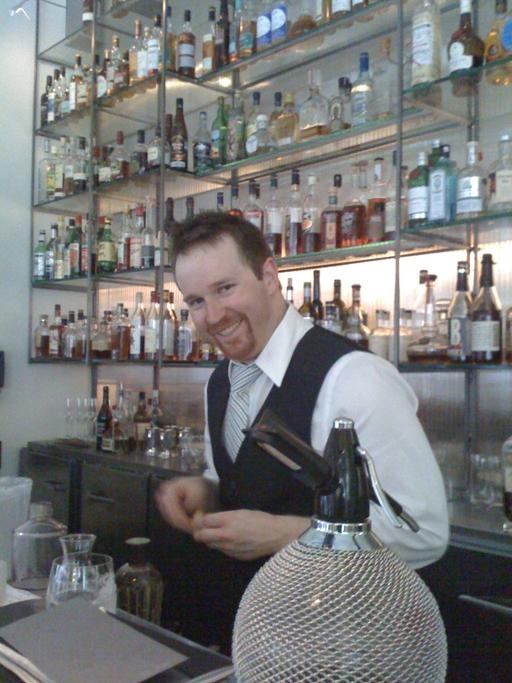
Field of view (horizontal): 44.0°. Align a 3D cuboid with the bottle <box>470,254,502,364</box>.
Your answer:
[{"bbox_3d":[0.615,-0.088,1.699,0.080,0.291,0.187,0,-1,21],"label":"bottle"}]

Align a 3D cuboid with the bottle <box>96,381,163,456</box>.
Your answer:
[{"bbox_3d":[-0.597,0.338,2.777,0.308,0.300,0.305,-5,-7,32],"label":"bottle"}]

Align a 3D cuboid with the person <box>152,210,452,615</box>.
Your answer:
[{"bbox_3d":[0.058,0.107,1.141,0.557,0.688,0.504,-1,-1,21],"label":"person"}]

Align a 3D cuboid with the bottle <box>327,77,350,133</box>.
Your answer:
[{"bbox_3d":[0.276,-0.783,2.119,0.068,0.226,0.207,0,-1,3],"label":"bottle"}]

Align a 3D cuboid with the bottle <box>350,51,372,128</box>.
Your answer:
[{"bbox_3d":[0.315,-0.762,1.928,0.071,0.212,0.077,0,-1,0],"label":"bottle"}]

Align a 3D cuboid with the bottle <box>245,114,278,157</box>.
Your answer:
[{"bbox_3d":[0.015,-0.741,2.297,0.078,0.142,0.117,1,-1,-20],"label":"bottle"}]

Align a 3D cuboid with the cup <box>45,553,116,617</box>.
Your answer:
[{"bbox_3d":[-0.197,0.278,0.743,0.078,0.072,0.075,-1,-8,0],"label":"cup"}]

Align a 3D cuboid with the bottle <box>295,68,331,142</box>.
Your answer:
[{"bbox_3d":[0.190,-0.796,2.130,0.111,0.245,0.082,0,-1,15],"label":"bottle"}]

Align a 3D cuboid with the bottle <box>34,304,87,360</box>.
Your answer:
[{"bbox_3d":[-0.976,-0.035,3.155,0.289,0.313,0.104,1,1,22],"label":"bottle"}]
